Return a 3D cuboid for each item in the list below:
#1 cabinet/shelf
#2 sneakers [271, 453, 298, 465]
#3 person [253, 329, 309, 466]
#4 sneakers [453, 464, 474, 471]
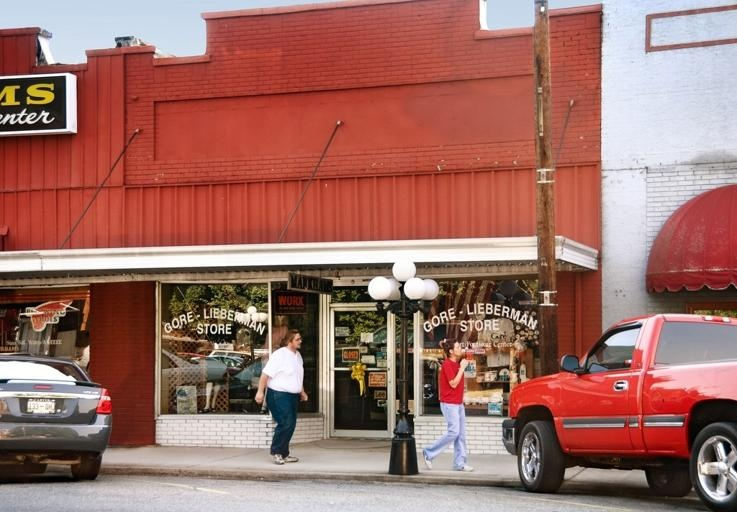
[{"bbox_3d":[2.768,2.423,20.800,0.658,1.404,1.603,-2,-14,28],"label":"cabinet/shelf"},{"bbox_3d":[-1.600,3.804,18.421,0.548,0.237,0.177,0,2,-7],"label":"sneakers"},{"bbox_3d":[-1.675,2.639,18.518,0.928,2.511,0.526,2,-8,-14],"label":"person"},{"bbox_3d":[1.705,3.783,17.538,0.366,0.138,0.135,1,1,7],"label":"sneakers"}]
